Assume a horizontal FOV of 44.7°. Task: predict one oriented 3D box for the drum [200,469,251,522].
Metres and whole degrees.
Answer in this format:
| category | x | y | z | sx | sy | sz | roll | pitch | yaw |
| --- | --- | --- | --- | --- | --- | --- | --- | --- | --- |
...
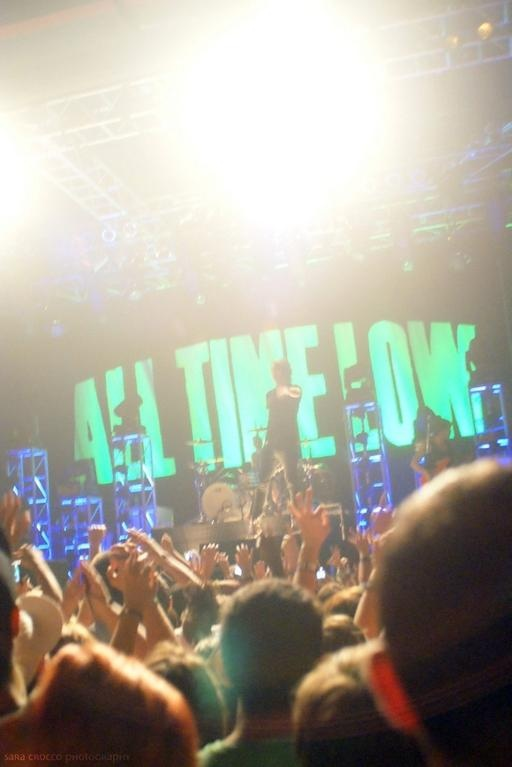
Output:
| category | x | y | z | sx | sy | sz | roll | pitch | yaw |
| --- | --- | --- | --- | --- | --- | --- | --- | --- | --- |
| drum | -0.394 | 1.611 | 8.858 | 0.623 | 0.716 | 0.636 | 14 | 0 | 14 |
